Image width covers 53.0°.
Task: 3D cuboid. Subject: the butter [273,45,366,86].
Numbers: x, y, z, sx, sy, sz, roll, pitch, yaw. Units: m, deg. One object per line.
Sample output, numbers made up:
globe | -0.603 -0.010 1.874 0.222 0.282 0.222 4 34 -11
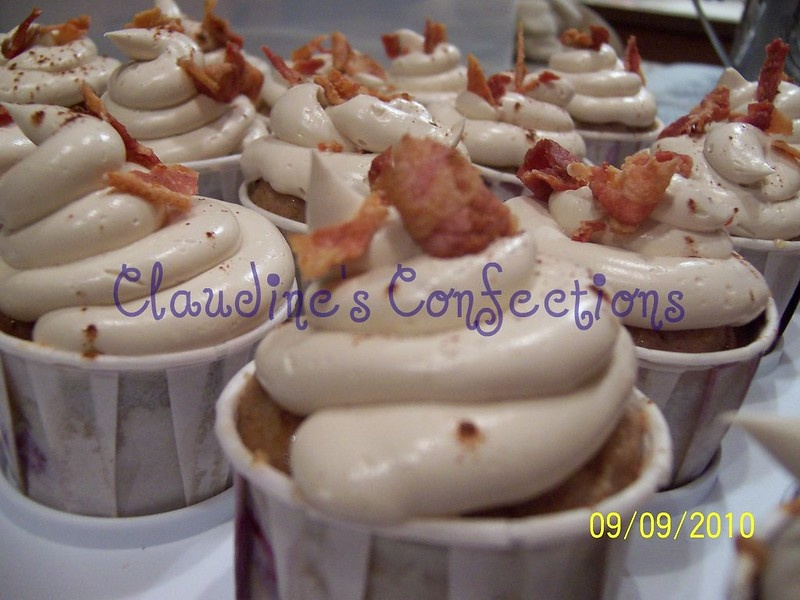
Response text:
butter | -0.321 -0.987 3.378 0.408 0.197 0.385 1 13 -9

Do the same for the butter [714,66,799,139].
butter | 1.280 -0.719 2.841 0.298 0.117 0.319 -3 55 14

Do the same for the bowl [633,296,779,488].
bowl | 0.756 0.274 2.271 0.414 0.455 0.454 -1 20 0
